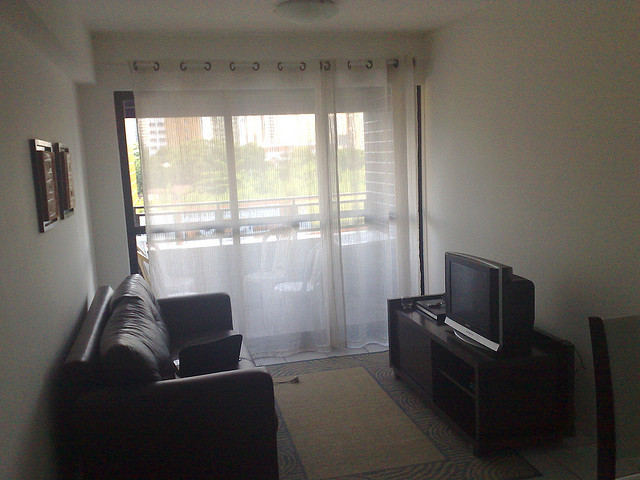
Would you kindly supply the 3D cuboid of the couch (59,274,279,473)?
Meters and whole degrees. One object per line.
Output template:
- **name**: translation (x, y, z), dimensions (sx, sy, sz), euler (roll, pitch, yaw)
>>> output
- **couch**: translation (-0.864, 0.329, 2.811), dimensions (0.950, 0.807, 1.637), euler (-2, 8, -14)

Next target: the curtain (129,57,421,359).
- **curtain**: translation (-0.484, -0.390, 4.467), dimensions (2.797, 2.808, 0.137), euler (-2, 11, -8)

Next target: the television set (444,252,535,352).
- **television set**: translation (1.079, 0.356, 3.384), dimensions (0.513, 0.745, 0.800), euler (-4, 5, -12)

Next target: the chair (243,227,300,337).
- **chair**: translation (-0.420, 0.310, 4.695), dimensions (0.422, 0.748, 0.442), euler (1, 18, 17)
